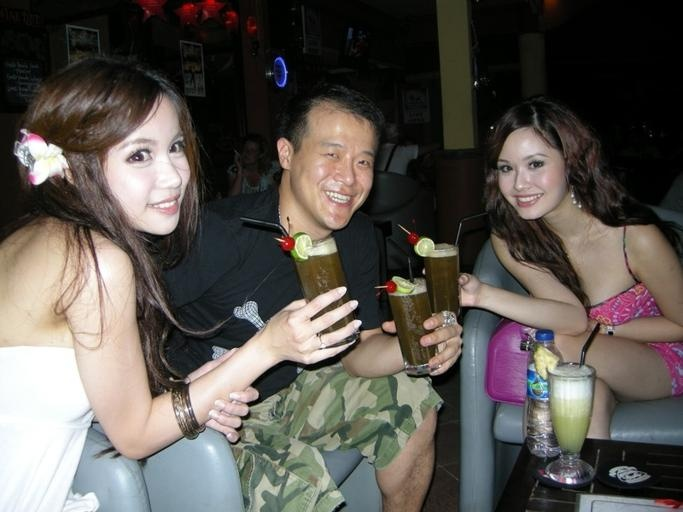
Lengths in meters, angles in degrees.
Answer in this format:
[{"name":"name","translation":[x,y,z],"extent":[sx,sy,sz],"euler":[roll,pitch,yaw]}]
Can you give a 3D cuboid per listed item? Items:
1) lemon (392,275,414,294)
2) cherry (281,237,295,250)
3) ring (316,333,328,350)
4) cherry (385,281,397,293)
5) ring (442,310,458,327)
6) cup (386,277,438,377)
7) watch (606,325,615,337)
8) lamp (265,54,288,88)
[{"name":"lemon","translation":[0.235,0.103,1.821],"extent":[0.081,0.051,0.119],"euler":[-7,10,1]},{"name":"cherry","translation":[-0.175,-0.042,1.615],"extent":[0.044,0.034,0.036],"euler":[9,1,16]},{"name":"ring","translation":[-0.068,0.275,1.586],"extent":[0.013,0.045,0.044],"euler":[-34,-23,6]},{"name":"cherry","translation":[0.185,0.112,1.778],"extent":[0.038,0.039,0.039],"euler":[5,-13,3]},{"name":"ring","translation":[0.427,0.247,1.906],"extent":[0.024,0.055,0.069],"euler":[-12,7,10]},{"name":"cup","translation":[0.282,0.289,1.877],"extent":[0.165,0.444,0.189],"euler":[-5,10,10]},{"name":"watch","translation":[1.271,0.349,2.286],"extent":[0.039,0.044,0.022],"euler":[-2,-10,13]},{"name":"lamp","translation":[-0.898,-2.664,6.983],"extent":[0.115,0.416,0.401],"euler":[6,9,28]}]
